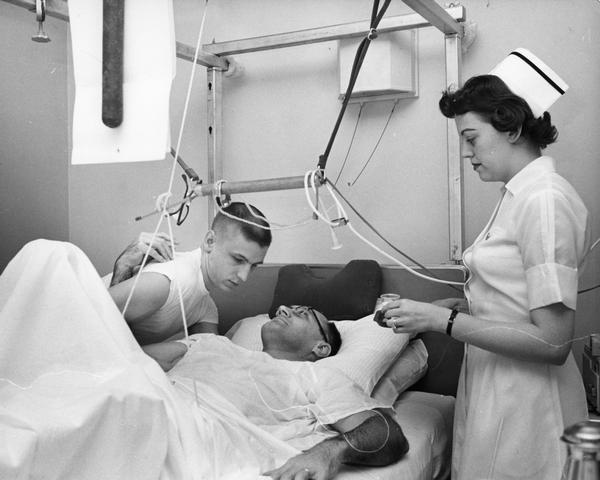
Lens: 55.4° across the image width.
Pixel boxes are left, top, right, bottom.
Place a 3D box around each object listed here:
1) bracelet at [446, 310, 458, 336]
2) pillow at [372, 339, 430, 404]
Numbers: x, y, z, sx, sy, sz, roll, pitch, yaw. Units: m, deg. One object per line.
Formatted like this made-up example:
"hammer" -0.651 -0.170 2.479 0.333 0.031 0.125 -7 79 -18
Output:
"bracelet" 0.388 0.211 1.463 0.013 0.055 0.046 9 24 11
"pillow" 0.377 0.476 2.070 0.174 0.196 0.060 42 -1 43
